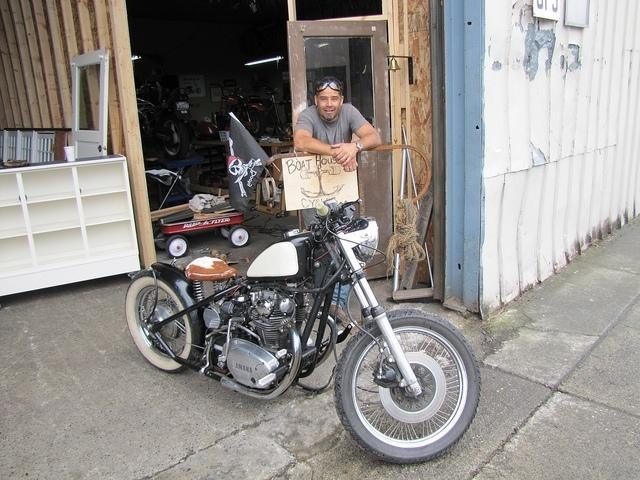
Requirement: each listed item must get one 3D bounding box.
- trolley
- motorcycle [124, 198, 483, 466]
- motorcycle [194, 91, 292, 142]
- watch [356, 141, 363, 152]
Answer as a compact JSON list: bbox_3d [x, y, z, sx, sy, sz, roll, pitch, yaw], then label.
[{"bbox_3d":[-1.679,-0.235,6.939,1.267,0.686,0.774,-12,26,-23],"label":"trolley"},{"bbox_3d":[-0.305,0.511,3.344,2.595,1.511,0.736,9,19,19],"label":"motorcycle"},{"bbox_3d":[-1.589,-3.195,12.132,1.958,1.389,1.299,7,32,30],"label":"motorcycle"},{"bbox_3d":[0.329,-0.777,4.105,0.066,0.016,0.067,31,35,-35],"label":"watch"}]
